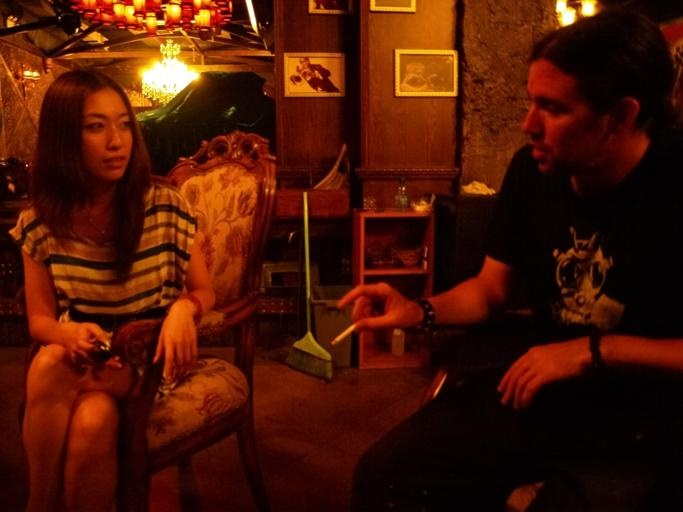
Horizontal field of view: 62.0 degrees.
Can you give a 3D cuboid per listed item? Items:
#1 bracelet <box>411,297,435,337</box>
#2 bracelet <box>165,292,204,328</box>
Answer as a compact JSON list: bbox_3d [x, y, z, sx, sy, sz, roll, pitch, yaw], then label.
[{"bbox_3d":[0.279,0.201,1.893,0.075,0.122,0.110,0,5,2],"label":"bracelet"},{"bbox_3d":[-0.540,0.180,1.964,0.087,0.068,0.089,1,10,12],"label":"bracelet"}]
